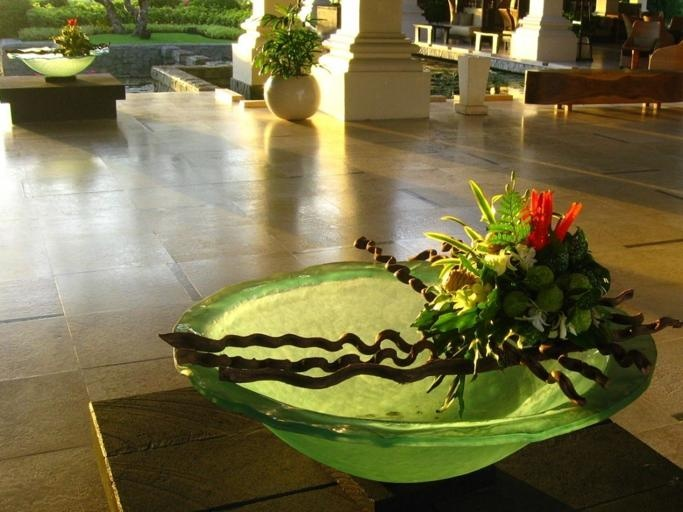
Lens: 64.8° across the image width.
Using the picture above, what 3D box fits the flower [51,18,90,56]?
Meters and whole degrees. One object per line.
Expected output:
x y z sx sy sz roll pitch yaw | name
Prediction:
-4.091 -3.394 8.185 0.425 0.362 0.331 7 33 1 | flower
